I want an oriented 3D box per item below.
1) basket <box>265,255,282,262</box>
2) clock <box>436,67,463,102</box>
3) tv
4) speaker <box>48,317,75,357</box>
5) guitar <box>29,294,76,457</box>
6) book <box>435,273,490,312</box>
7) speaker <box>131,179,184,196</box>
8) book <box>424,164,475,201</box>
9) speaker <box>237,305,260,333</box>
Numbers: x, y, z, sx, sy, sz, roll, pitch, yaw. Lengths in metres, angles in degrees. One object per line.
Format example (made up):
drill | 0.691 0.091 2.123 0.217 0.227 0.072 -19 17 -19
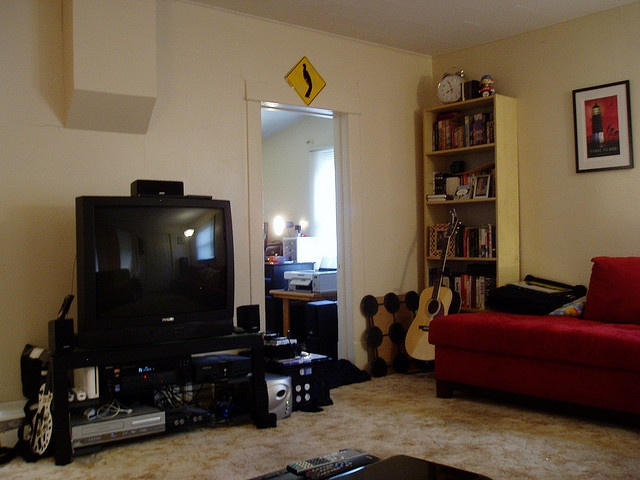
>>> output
basket | -0.620 0.257 7.099 0.216 0.094 0.653 -1 3 -4
clock | 1.305 -1.518 5.150 0.254 0.387 0.131 0 2 34
tv | -1.119 0.210 3.442 0.922 0.953 0.339 0 3 -22
speaker | -1.605 0.583 3.231 0.179 0.216 0.187 -3 -6 -16
guitar | -1.676 0.857 3.290 0.281 0.987 0.284 -2 2 -15
book | 1.390 0.609 5.080 0.282 0.575 0.557 0 1 -9
speaker | -1.160 -0.364 3.633 0.412 0.117 0.281 -1 3 0
book | 1.294 -0.569 5.201 0.291 0.352 0.118 -12 -34 15
speaker | -0.515 0.558 3.764 0.191 0.274 0.139 -1 1 5
